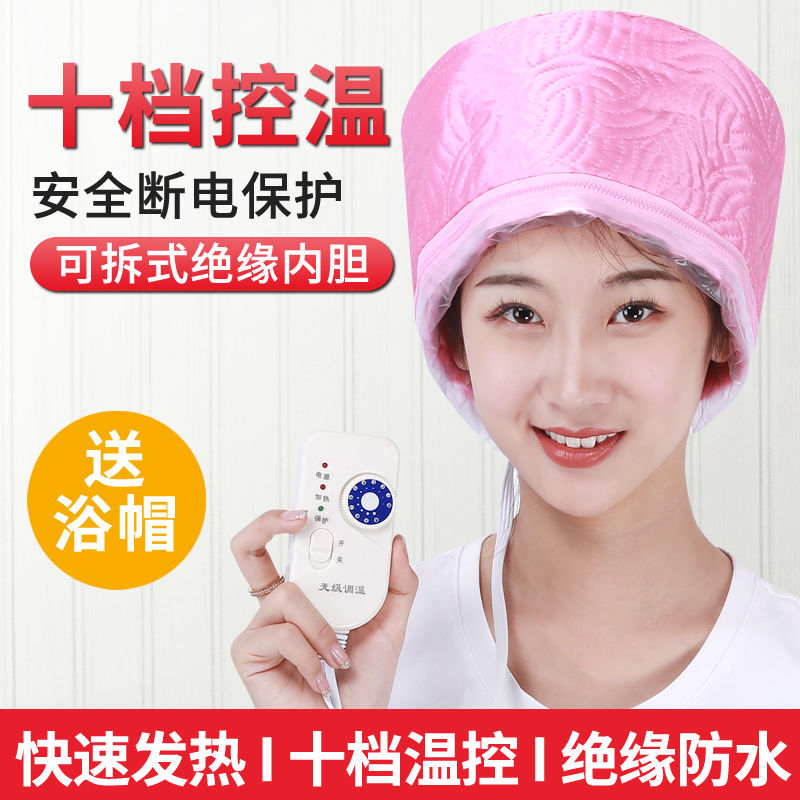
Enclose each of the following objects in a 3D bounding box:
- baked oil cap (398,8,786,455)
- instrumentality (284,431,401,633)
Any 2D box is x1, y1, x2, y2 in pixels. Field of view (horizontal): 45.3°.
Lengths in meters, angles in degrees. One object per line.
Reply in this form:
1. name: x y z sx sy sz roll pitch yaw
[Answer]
1. baked oil cap: 0.258 -0.180 1.286 0.451 0.395 0.581 6 -22 14
2. instrumentality: -0.061 0.144 1.154 0.103 0.263 0.070 5 1 0
